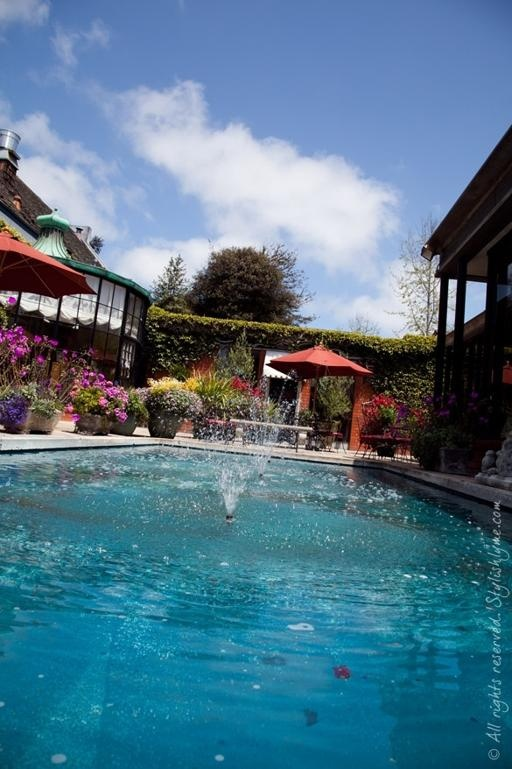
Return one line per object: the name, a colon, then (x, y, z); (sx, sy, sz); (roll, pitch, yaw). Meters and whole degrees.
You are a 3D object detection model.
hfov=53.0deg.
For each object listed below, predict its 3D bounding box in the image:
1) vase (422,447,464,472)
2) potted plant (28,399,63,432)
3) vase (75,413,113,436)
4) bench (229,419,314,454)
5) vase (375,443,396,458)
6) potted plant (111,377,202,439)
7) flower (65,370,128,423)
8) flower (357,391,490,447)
vase: (2.705, 1.070, 7.370); (0.410, 0.255, 0.405); (5, -8, -23)
potted plant: (-2.663, 0.410, 6.493); (0.353, 0.267, 0.396); (1, -6, 14)
vase: (-2.646, 0.635, 8.321); (0.484, 0.292, 0.370); (7, -4, 4)
bench: (0.603, 1.178, 12.053); (1.727, 0.583, 2.926); (6, -6, 18)
vase: (2.899, 1.457, 11.451); (0.568, 0.356, 0.513); (-1, -8, 24)
potted plant: (-2.032, 0.389, 10.190); (1.322, 1.152, 1.203); (-2, -12, 30)
flower: (-2.549, 0.179, 8.523); (0.900, 0.575, 0.962); (-7, 23, -18)
flower: (2.876, 0.641, 8.489); (1.577, 0.899, 2.061); (3, -6, 2)
